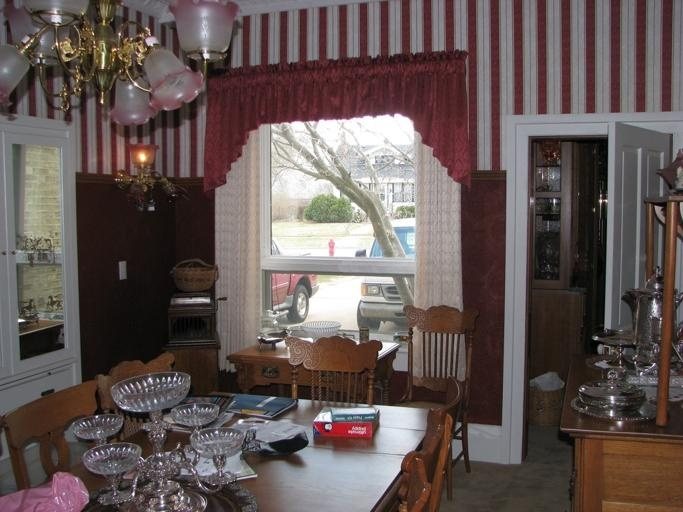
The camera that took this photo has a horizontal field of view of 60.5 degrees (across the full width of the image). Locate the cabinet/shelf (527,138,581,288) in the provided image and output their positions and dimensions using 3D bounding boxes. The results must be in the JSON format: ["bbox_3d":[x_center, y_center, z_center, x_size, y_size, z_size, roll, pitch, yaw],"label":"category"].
[{"bbox_3d":[2.216,-0.425,6.049,0.525,1.505,0.226,0,1,1],"label":"cabinet/shelf"}]

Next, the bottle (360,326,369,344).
[{"bbox_3d":[0.165,0.607,4.450,0.082,0.098,0.087,3,5,17],"label":"bottle"}]

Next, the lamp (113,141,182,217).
[{"bbox_3d":[-1.590,-0.630,4.852,0.345,0.512,0.622,0,1,2],"label":"lamp"}]

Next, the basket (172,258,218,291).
[{"bbox_3d":[-1.205,0.160,4.812,0.350,0.281,0.355,1,3,-3],"label":"basket"}]
